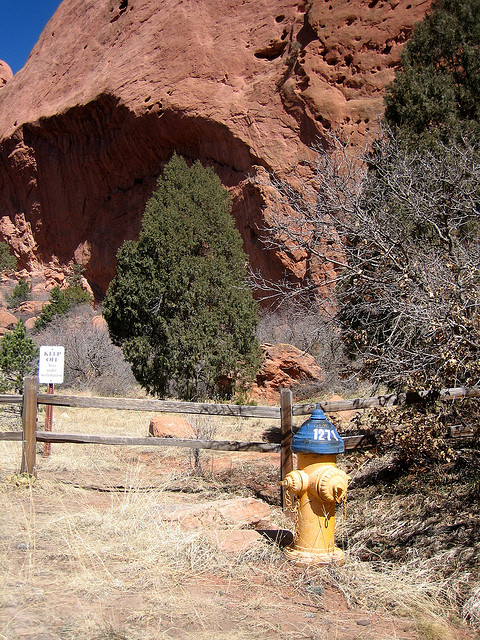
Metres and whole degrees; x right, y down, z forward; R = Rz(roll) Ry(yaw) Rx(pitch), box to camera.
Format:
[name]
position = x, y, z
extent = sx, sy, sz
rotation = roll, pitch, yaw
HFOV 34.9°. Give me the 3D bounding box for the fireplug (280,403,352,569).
[fireplug]
position = 0.547, 1.241, 5.542
extent = 0.464, 1.064, 0.428
rotation = 3, 1, 3
